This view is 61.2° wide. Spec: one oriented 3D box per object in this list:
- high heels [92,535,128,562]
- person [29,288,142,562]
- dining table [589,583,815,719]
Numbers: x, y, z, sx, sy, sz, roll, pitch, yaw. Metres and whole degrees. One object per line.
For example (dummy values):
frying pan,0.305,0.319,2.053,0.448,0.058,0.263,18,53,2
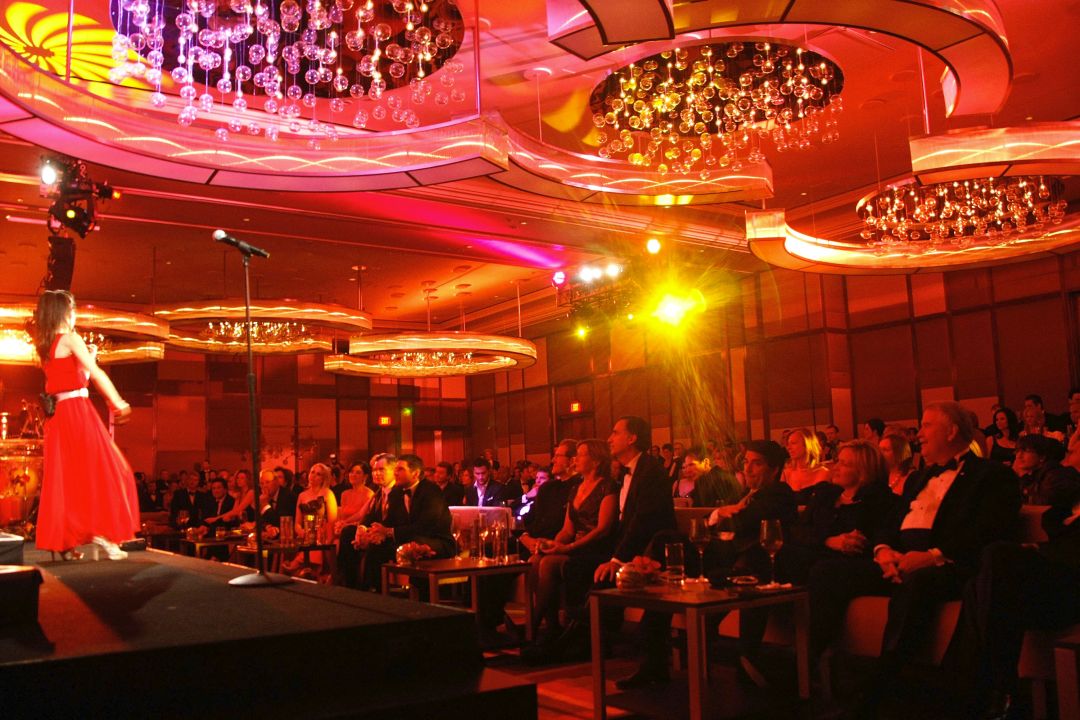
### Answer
high heels,-3.197,1.379,6.711,0.317,0.199,0.167,-2,-3,0
person,-3.330,0.453,6.624,0.675,1.994,0.663,2,-6,-32
dining table,0.986,1.973,6.915,1.228,0.862,1.214,5,-12,-33
